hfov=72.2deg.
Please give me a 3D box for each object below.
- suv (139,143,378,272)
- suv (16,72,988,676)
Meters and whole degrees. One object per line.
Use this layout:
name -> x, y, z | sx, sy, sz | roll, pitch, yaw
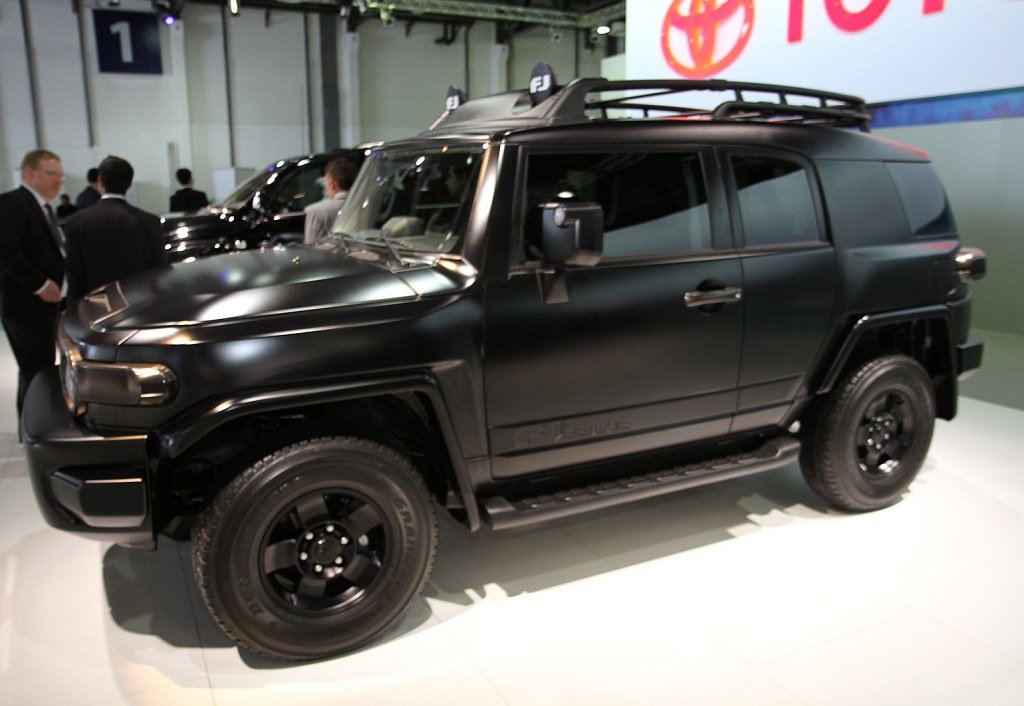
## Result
suv -> -2.998, -1.709, 9.599 | 3.470, 1.676, 1.948 | -2, 9, -19
suv -> 0.536, -0.186, 4.661 | 5.636, 2.298, 2.498 | -3, 11, -17
